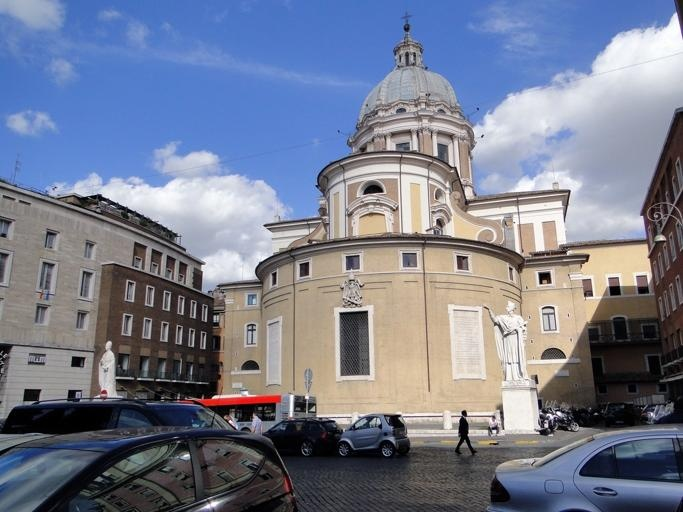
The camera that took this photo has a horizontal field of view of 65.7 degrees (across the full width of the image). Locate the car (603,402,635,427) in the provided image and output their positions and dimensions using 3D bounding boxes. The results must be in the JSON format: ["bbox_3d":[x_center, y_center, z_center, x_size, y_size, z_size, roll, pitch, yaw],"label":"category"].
[{"bbox_3d":[17.631,10.237,33.906,1.195,1.034,2.047,-7,-34,12],"label":"car"}]
